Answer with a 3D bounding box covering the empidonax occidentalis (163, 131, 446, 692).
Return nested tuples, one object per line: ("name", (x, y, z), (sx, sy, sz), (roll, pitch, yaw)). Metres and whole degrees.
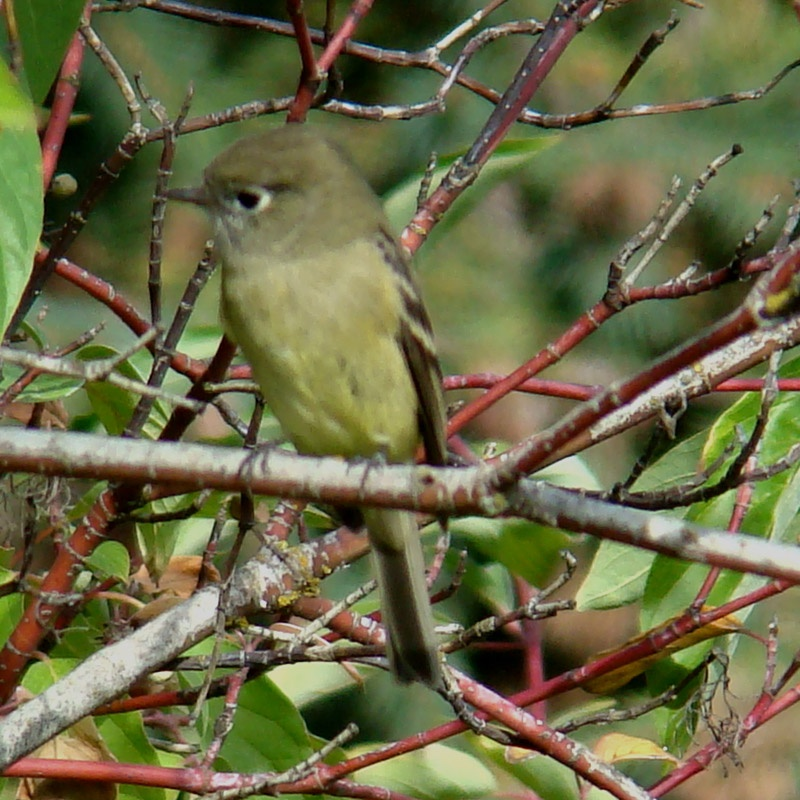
("empidonax occidentalis", (-0.053, 0.045, 3.166), (0.476, 0.586, 1.323), (1, -44, 26))
